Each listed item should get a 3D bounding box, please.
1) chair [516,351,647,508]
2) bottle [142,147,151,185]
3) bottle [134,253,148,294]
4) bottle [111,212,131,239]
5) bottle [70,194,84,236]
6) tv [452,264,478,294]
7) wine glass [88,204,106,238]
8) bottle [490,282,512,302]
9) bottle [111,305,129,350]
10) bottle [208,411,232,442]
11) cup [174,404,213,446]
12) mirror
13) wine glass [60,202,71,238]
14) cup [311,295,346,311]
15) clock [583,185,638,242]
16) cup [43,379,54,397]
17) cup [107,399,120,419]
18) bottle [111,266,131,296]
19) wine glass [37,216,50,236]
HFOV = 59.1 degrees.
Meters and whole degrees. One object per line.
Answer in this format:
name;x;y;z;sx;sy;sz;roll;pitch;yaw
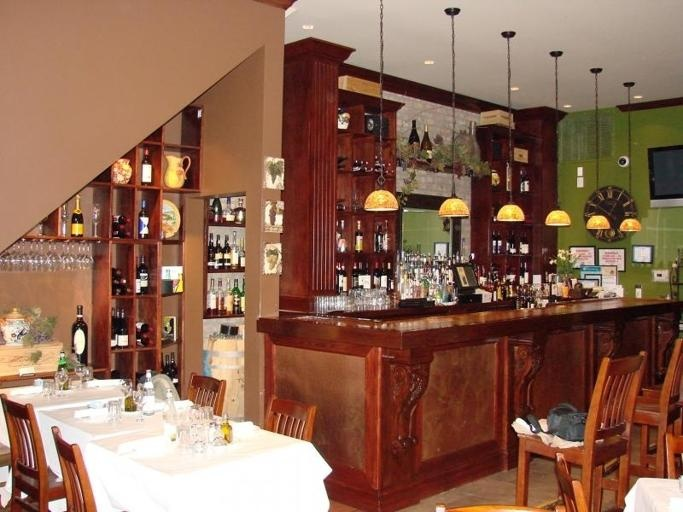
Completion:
chair;1.753;1.256;4.166;1.013;1.176;0.540;-2;0;-6
bottle;-1.967;-0.918;6.116;0.102;0.322;0.120;-2;0;-7
bottle;-2.021;0.183;6.106;0.121;0.341;0.261;-2;0;-5
bottle;-2.147;-0.309;5.941;0.248;0.219;0.154;-2;0;37
bottle;-2.509;-0.378;5.720;0.119;0.337;0.363;-1;0;-23
tv;1.541;0.291;7.574;0.286;0.418;0.219;2;-22;-27
wine glass;-2.396;-0.347;5.894;0.092;0.283;0.304;-1;0;-26
bottle;2.334;0.534;8.833;0.213;0.431;0.215;1;2;0
bottle;-2.182;0.712;5.943;0.170;0.336;0.194;-1;0;-29
bottle;-0.743;1.055;3.748;0.160;0.246;0.129;-1;-7;7
cup;-0.909;1.041;3.715;0.147;0.270;0.270;1;-3;5
mirror;1.179;-0.451;8.474;0.889;1.006;0.080;2;-6;-33
wine glass;-2.566;-0.343;5.611;0.091;0.274;0.470;-1;-1;-23
cup;-0.151;0.484;6.176;0.281;0.174;0.497;-2;0;27
clock;4.406;-0.701;9.781;0.890;1.127;0.158;0;3;36
cup;-2.293;1.028;4.728;0.099;0.117;0.102;2;-2;0
cup;-1.556;1.050;4.137;0.102;0.150;0.102;0;1;0
bottle;-2.202;0.253;5.987;0.158;0.243;0.270;-1;0;-27
wine glass;-2.705;-0.276;5.503;0.090;0.155;0.332;-1;-1;-40
